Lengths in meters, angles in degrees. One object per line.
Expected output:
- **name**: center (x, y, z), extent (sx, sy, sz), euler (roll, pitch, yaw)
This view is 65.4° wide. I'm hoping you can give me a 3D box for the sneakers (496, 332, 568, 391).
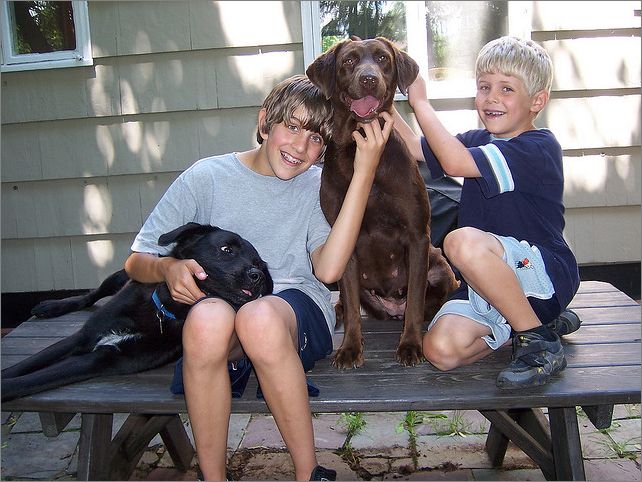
- **sneakers**: center (0.949, 0.522, 2.246), extent (0.451, 0.233, 0.191), euler (-6, -8, -40)
